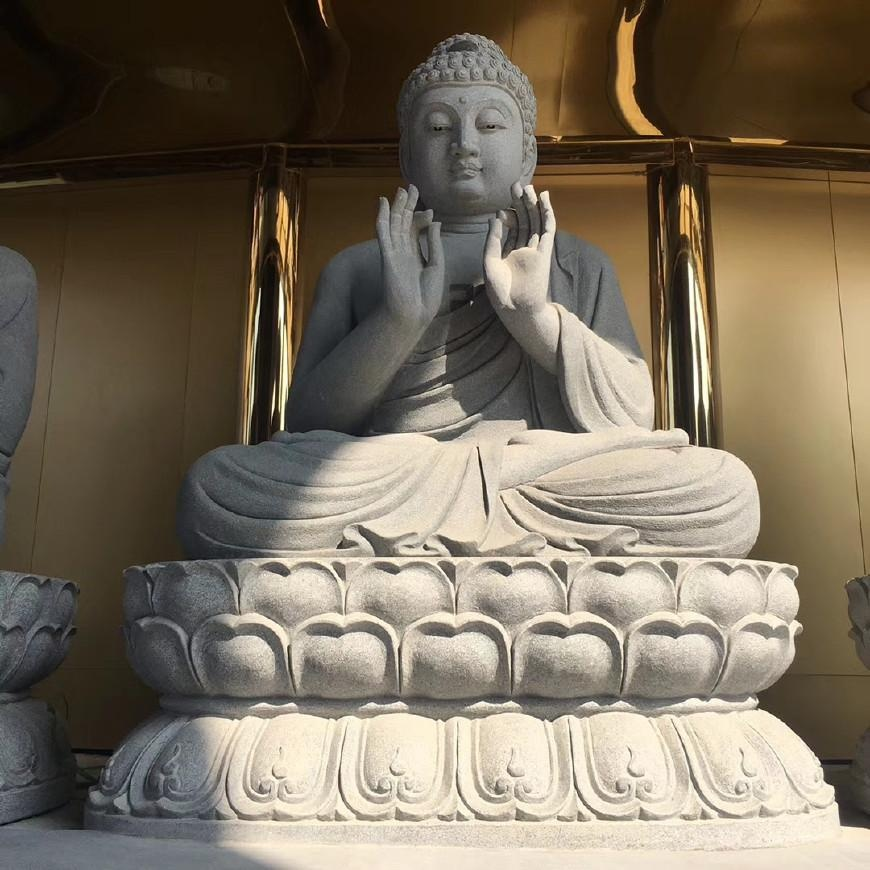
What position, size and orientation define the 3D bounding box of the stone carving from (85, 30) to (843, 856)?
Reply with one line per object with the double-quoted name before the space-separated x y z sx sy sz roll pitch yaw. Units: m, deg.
"stone carving" 0.063 0.158 3.801 1.746 2.500 1.470 1 -19 0
